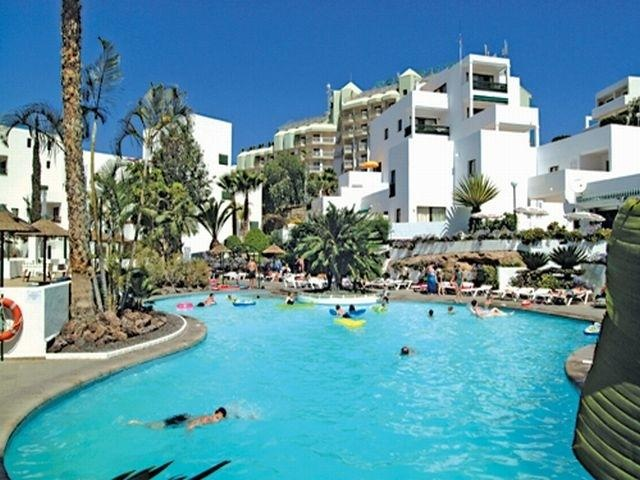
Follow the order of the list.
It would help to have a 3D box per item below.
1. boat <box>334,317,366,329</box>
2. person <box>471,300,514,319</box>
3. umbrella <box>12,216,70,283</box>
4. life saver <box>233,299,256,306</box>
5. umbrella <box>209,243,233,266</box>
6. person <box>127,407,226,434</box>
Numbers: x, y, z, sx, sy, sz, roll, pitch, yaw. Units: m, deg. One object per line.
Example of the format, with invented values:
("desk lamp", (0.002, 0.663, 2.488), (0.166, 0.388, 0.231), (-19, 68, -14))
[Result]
("boat", (1.268, 3.461, 21.293), (1.265, 0.082, 2.030), (-2, 5, -7))
("person", (7.390, 3.122, 22.352), (1.118, 0.667, 0.777), (-3, 5, -11))
("umbrella", (-9.699, 0.306, 17.875), (1.455, 1.885, 1.425), (-3, -3, 42))
("life saver", (-3.854, 3.163, 25.738), (0.695, 0.219, 0.512), (-1, 5, -11))
("umbrella", (-8.484, 1.213, 43.120), (2.005, 2.117, 2.177), (-1, 0, 23))
("person", (-3.132, 4.124, 11.625), (1.266, 0.304, 0.781), (-6, -4, -7))
